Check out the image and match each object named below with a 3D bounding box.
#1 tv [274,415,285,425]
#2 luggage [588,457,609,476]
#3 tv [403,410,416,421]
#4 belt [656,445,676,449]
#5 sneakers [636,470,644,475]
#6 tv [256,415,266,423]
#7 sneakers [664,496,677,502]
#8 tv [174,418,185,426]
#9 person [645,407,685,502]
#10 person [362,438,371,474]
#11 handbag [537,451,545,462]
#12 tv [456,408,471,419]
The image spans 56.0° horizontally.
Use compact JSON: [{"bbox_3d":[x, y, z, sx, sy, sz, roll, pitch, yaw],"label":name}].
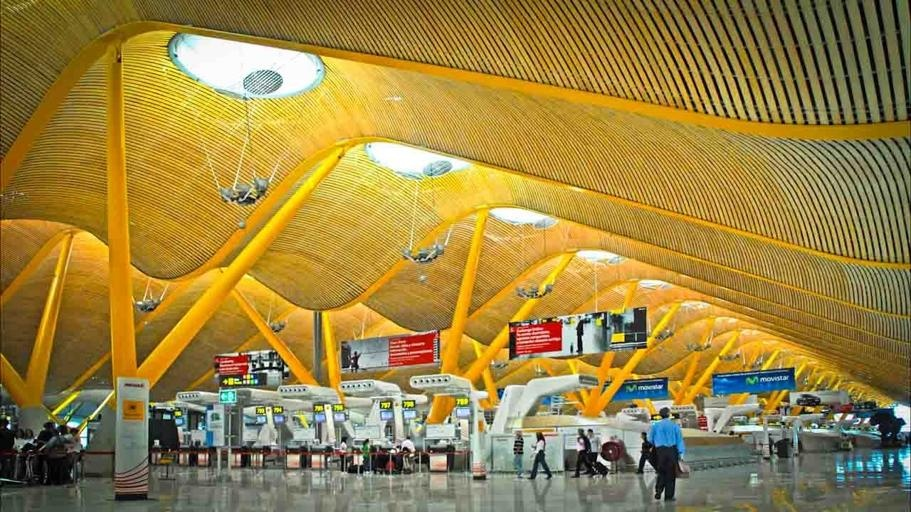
[{"bbox_3d":[-10.704,9.840,51.741,0.874,0.407,0.555,3,-26,0],"label":"tv"},{"bbox_3d":[6.444,9.661,39.304,0.996,0.946,0.438,7,-14,-40],"label":"luggage"},{"bbox_3d":[-2.591,8.785,47.441,0.865,0.406,0.557,2,-10,4],"label":"tv"},{"bbox_3d":[7.335,6.622,29.875,0.581,0.132,0.058,-3,-18,8],"label":"belt"},{"bbox_3d":[8.607,10.088,40.157,0.380,0.234,0.138,-3,-8,44],"label":"sneakers"},{"bbox_3d":[-12.129,10.076,53.216,0.694,0.566,0.319,-1,-46,6],"label":"tv"},{"bbox_3d":[7.489,8.460,29.913,0.371,0.122,0.268,0,-16,-1],"label":"sneakers"},{"bbox_3d":[-17.482,10.454,54.315,0.744,0.551,0.348,0,-18,-2],"label":"tv"},{"bbox_3d":[7.433,6.946,30.272,1.289,2.966,1.054,-2,-10,32],"label":"person"},{"bbox_3d":[-4.505,10.155,43.307,0.498,1.398,1.018,2,-18,-8],"label":"person"},{"bbox_3d":[3.717,8.708,37.519,0.218,0.384,0.515,-9,-19,25],"label":"handbag"},{"bbox_3d":[0.425,8.203,44.975,0.736,0.510,1.021,-2,-13,13],"label":"tv"}]
